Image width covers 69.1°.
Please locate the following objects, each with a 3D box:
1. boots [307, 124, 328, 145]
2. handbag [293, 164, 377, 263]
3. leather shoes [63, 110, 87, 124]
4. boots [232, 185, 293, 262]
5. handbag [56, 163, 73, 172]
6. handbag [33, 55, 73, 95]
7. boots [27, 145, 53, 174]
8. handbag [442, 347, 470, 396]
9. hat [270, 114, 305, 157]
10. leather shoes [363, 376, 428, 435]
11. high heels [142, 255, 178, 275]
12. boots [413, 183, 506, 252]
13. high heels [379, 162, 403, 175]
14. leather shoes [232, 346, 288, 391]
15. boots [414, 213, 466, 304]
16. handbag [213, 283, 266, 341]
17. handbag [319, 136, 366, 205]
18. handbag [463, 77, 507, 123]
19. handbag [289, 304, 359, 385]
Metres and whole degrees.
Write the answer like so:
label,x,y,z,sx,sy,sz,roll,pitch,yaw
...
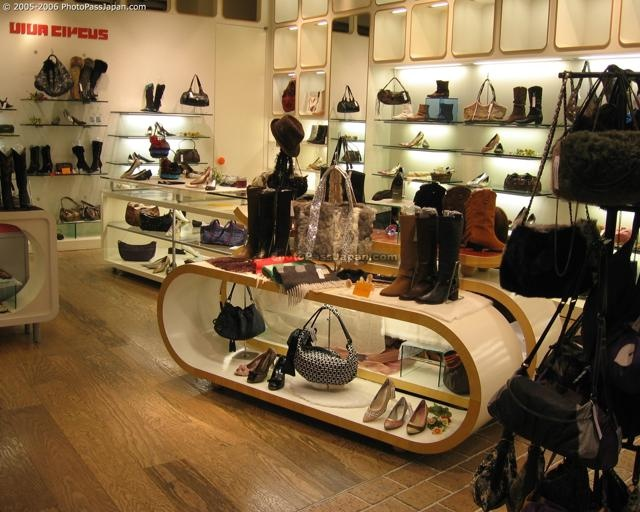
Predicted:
label,x,y,z,sx,sy,sz,roll,pitch,yaw
boots,-0.117,-2.016,7.704,0.182,0.365,0.512,1,14,-32
handbag,0.085,-0.235,2.977,0.481,0.634,0.344,2,-6,9
leather shoes,-3.841,-2.165,7.225,0.299,0.130,0.104,24,44,-8
boots,-0.346,-0.215,3.089,0.419,0.538,0.358,10,13,33
handbag,-4.007,-1.373,7.283,0.250,0.148,0.177,-2,5,-12
handbag,-3.962,-2.667,6.913,0.511,0.670,0.152,-4,-14,-16
boots,-4.219,-1.441,7.009,0.398,0.503,0.382,-4,13,-38
handbag,0.819,0.697,2.778,0.183,0.237,0.133,2,0,-37
hat,-0.289,-0.850,3.229,0.288,0.181,0.374,-14,31,-43
leather shoes,0.444,0.879,2.662,0.260,0.118,0.246,8,22,41
high heels,-1.884,0.109,5.470,0.201,0.077,0.142,-28,33,-28
boots,0.981,-0.285,3.196,0.294,0.464,0.965,-6,13,-38
high heels,0.910,-1.178,6.265,0.370,0.169,0.134,0,15,-5
leather shoes,-0.370,0.762,3.098,0.219,0.099,0.279,19,29,38
boots,0.661,0.012,2.532,0.241,0.494,0.103,-8,14,-41
handbag,-0.584,0.373,3.336,0.359,0.520,0.216,0,-5,-26
handbag,0.125,-0.547,3.082,0.226,0.506,0.169,9,43,7
handbag,1.929,-1.821,5.423,0.489,0.515,0.140,9,7,28
handbag,0.037,0.596,3.055,0.443,0.494,0.245,10,10,15
